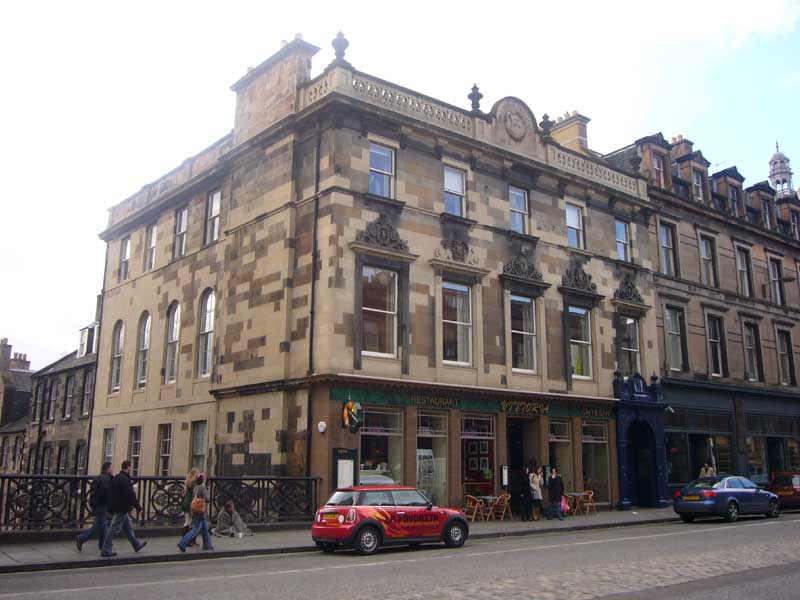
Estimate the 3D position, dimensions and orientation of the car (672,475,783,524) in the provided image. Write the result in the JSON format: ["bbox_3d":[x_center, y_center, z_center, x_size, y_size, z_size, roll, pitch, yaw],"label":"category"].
[{"bbox_3d":[13.021,7.788,26.651,4.786,1.661,1.535,9,-22,-30],"label":"car"}]

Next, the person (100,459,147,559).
[{"bbox_3d":[-7.223,5.421,17.712,0.896,2.388,1.318,-2,-18,0],"label":"person"}]

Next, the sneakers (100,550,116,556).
[{"bbox_3d":[-7.392,6.370,17.072,0.363,0.167,0.126,3,-9,-5],"label":"sneakers"}]

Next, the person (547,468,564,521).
[{"bbox_3d":[6.260,7.669,26.989,0.540,1.921,1.078,-8,-19,17],"label":"person"}]

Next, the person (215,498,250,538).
[{"bbox_3d":[-5.271,6.819,21.455,1.175,1.231,0.870,-4,-12,26],"label":"person"}]

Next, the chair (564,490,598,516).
[{"bbox_3d":[7.649,8.569,28.672,0.778,1.187,0.870,-8,-47,23],"label":"chair"}]
